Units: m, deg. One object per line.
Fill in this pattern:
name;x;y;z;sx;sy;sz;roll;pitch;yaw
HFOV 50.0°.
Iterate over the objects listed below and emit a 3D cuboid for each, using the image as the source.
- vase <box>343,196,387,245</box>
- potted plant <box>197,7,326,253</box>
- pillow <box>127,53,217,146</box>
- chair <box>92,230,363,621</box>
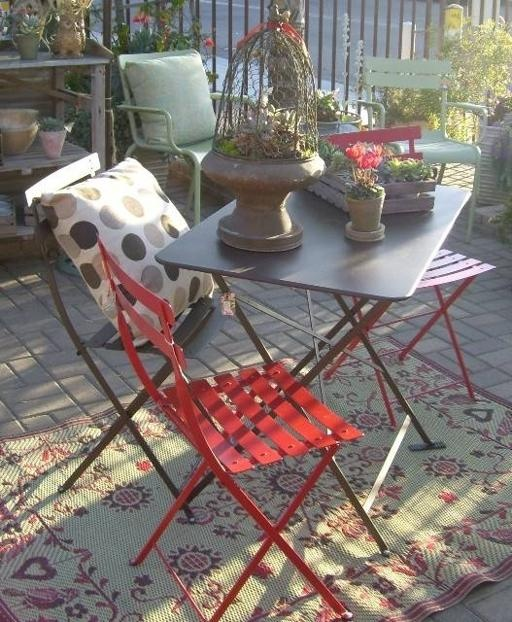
vase;0.312;-0.285;1.692;0.146;0.136;0.139;17;36;30
potted plant;0.022;-0.608;1.706;0.388;0.751;0.700;2;19;3
pillow;-0.628;-1.626;4.182;0.373;0.579;0.716;30;42;29
chair;-0.096;0.348;1.585;0.612;1.001;0.518;-14;37;-16
